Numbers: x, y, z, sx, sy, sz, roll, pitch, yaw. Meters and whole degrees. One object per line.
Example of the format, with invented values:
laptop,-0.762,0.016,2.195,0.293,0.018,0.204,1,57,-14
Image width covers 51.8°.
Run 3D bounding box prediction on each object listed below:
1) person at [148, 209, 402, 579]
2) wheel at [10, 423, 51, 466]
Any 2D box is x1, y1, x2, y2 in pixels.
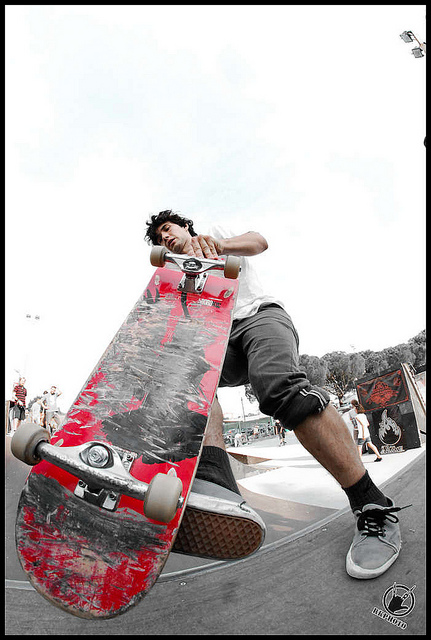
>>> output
person,0.142,0.056,2.485,1.061,2.486,0.929,-24,-42,24
wheel,-0.699,0.441,1.672,0.075,0.173,0.112,-7,12,-37
